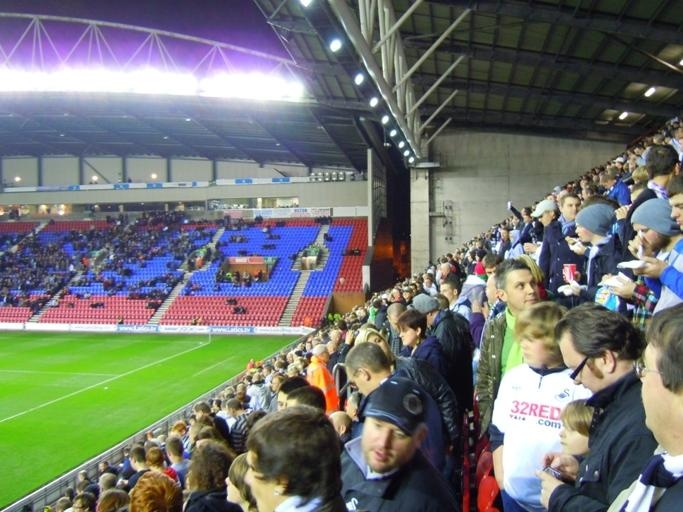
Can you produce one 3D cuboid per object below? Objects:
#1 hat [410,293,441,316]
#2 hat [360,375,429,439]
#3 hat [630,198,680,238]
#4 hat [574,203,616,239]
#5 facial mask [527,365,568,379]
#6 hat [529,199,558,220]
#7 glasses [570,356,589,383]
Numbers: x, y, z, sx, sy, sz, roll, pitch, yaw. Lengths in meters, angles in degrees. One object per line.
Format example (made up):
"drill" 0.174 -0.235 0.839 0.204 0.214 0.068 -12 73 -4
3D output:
"hat" 0.896 0.524 6.294 0.253 0.140 0.372 0 0 6
"hat" 0.402 1.085 3.767 0.340 0.576 0.250 -1 19 9
"hat" 2.592 -0.325 4.894 0.319 0.274 0.245 -4 -1 27
"hat" 2.604 -0.363 6.123 0.393 0.341 0.307 -9 3 21
"facial mask" 1.614 0.901 4.625 0.285 0.071 0.042 3 0 16
"hat" 2.555 -0.602 7.501 0.314 0.176 0.241 -15 1 21
"glasses" 1.599 0.766 4.001 0.036 0.140 0.132 27 -14 12
